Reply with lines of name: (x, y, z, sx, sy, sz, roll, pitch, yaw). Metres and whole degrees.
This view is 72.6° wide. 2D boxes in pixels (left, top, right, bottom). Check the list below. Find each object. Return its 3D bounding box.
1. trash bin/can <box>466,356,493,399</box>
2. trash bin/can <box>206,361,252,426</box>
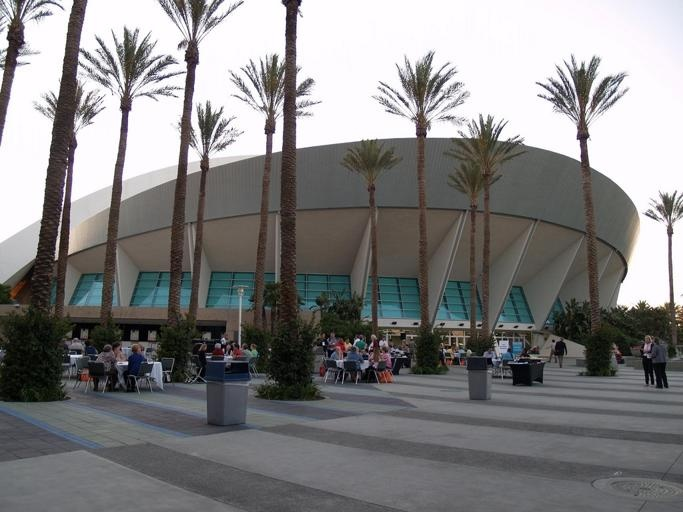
trash bin/can: (4.405, 3.817, 14.695, 0.700, 1.301, 0.623, -1, -8, 16)
trash bin/can: (-2.544, 2.991, 10.287, 0.920, 1.319, 0.980, -2, -12, 11)
